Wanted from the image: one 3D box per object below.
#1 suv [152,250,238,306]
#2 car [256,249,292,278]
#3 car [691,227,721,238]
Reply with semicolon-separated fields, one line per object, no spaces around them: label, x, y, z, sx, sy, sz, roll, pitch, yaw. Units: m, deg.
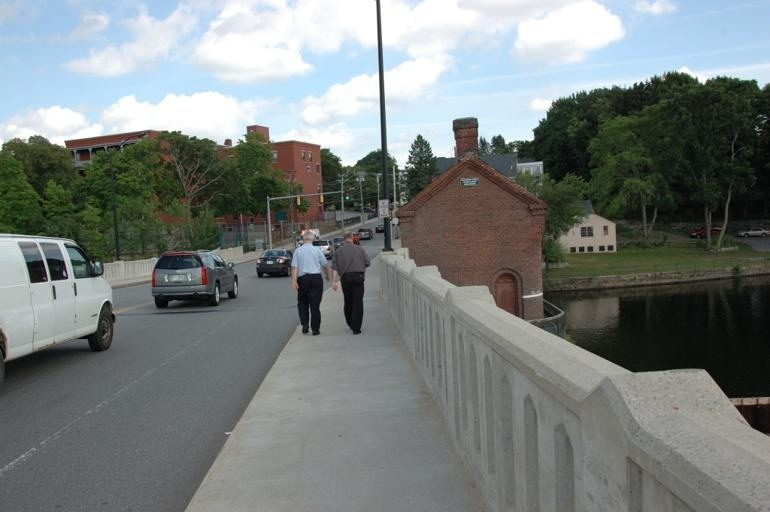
suv;-5.690;0.592;21.180;1.271;1.070;2.854;-1;4;8
car;-5.606;0.415;34.376;1.573;1.428;2.007;2;1;-1
car;40.433;-2.909;84.669;2.779;1.205;1.656;-23;4;13
